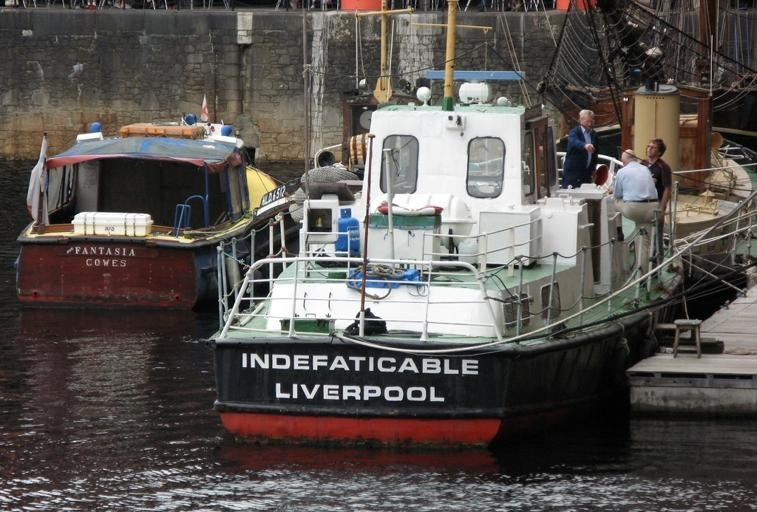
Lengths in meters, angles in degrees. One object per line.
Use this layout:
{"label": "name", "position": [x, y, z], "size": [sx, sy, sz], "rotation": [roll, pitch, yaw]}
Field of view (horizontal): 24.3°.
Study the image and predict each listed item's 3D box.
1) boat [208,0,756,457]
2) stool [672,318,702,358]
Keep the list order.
{"label": "boat", "position": [1.478, 0.131, 28.612], "size": [5.049, 5.968, 8.856], "rotation": [3, 13, 17]}
{"label": "stool", "position": [4.757, 1.232, 27.201], "size": [0.522, 0.707, 0.533], "rotation": [0, -2, 7]}
